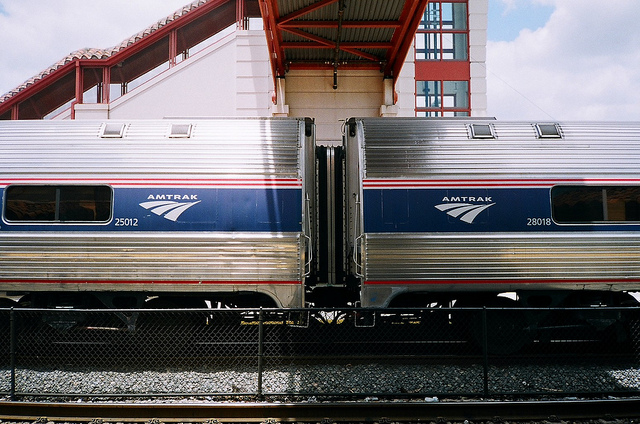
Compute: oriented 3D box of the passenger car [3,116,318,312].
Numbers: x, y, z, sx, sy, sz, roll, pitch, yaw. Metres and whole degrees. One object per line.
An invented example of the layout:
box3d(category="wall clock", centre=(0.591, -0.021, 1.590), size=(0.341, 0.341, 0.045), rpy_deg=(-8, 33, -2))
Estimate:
box3d(category="passenger car", centre=(-4.102, 0.048, 26.440), size=(7.707, 4.895, 1.145), rpy_deg=(-2, -3, -6))
